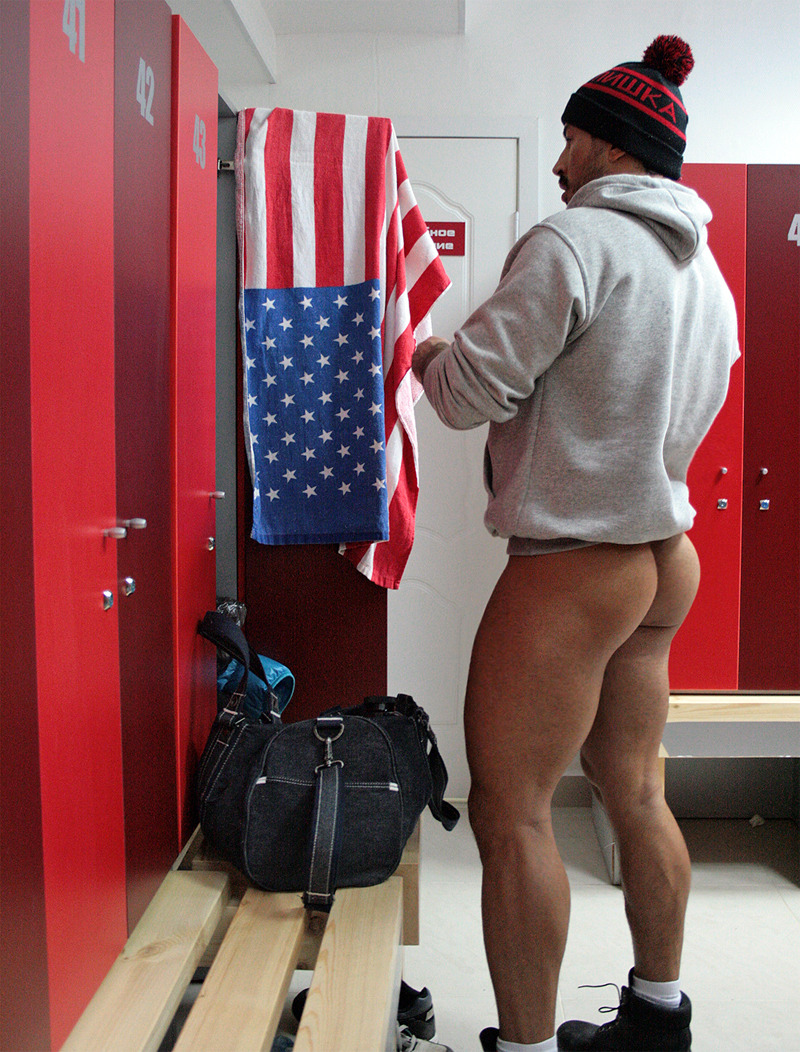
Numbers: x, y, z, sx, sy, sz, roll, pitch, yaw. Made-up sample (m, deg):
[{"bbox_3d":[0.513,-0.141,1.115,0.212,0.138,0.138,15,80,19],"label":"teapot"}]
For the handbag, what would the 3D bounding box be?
[{"bbox_3d":[-0.132,0.398,1.507,0.379,0.454,0.374,1,-7,-6],"label":"handbag"}]
